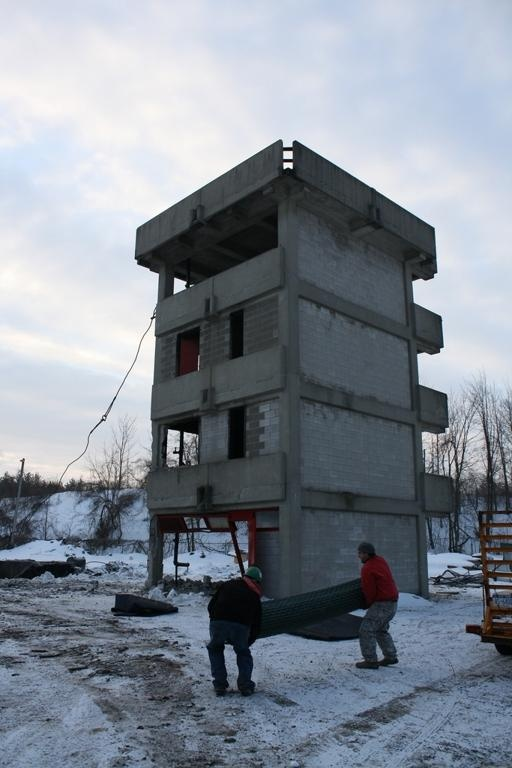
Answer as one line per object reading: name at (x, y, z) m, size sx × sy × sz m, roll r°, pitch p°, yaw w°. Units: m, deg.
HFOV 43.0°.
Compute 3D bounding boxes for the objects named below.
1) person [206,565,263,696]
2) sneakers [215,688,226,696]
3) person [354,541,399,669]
person at (-0.229, 2.831, 7.487) m, size 0.507 × 1.360 × 0.676 m, roll -8°, pitch -13°, yaw 35°
sneakers at (-0.383, 3.406, 7.203) m, size 0.053 × 0.063 × 0.141 m, roll 7°, pitch -40°, yaw -16°
person at (1.700, 3.124, 9.241) m, size 0.584 × 1.682 × 0.579 m, roll -3°, pitch -10°, yaw 12°
